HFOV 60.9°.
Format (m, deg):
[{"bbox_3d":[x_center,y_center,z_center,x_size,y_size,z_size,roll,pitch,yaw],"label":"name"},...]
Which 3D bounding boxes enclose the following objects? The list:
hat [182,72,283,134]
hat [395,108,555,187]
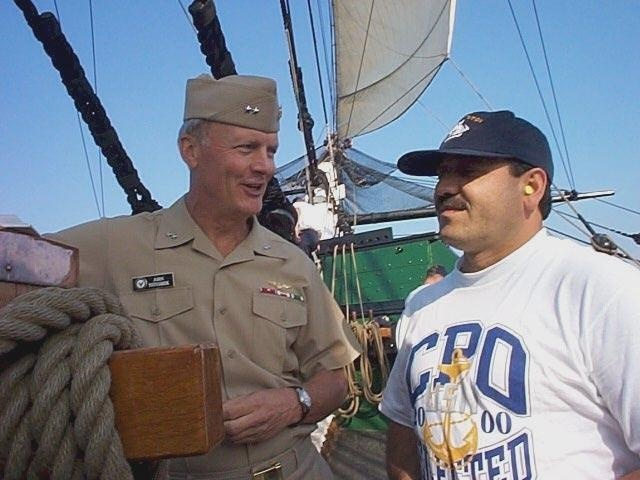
[{"bbox_3d":[-0.452,-0.683,2.798,0.506,0.303,0.484,7,4,30],"label":"hat"},{"bbox_3d":[0.766,-0.436,2.469,0.640,0.340,0.475,11,-2,-11],"label":"hat"}]
